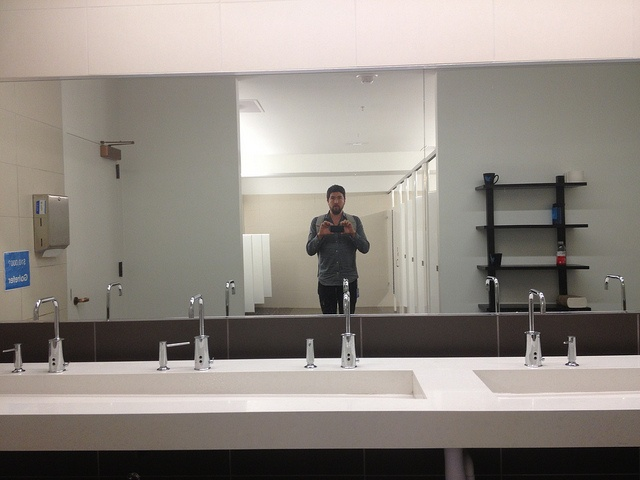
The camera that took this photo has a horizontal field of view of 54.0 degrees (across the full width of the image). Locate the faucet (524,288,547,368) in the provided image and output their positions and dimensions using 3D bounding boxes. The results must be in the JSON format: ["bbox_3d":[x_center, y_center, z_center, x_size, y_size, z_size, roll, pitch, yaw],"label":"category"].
[{"bbox_3d":[1.038,0.417,3.022,0.091,0.356,0.217,0,-2,21],"label":"faucet"}]

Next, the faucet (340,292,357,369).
[{"bbox_3d":[0.143,0.427,3.037,0.077,0.351,0.213,0,-2,2],"label":"faucet"}]

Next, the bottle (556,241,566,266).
[{"bbox_3d":[1.188,0.065,3.082,0.052,0.120,0.015,1,-2,-11],"label":"bottle"}]

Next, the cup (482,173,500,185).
[{"bbox_3d":[0.847,-0.304,3.109,0.064,0.049,0.048,2,-5,-17],"label":"cup"}]

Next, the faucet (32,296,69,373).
[{"bbox_3d":[-1.317,0.453,3.070,0.157,0.354,0.257,1,-2,-25],"label":"faucet"}]

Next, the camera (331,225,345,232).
[{"bbox_3d":[0.087,-0.057,3.173,0.057,0.035,0.014,2,0,1],"label":"camera"}]

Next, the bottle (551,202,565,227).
[{"bbox_3d":[1.167,-0.127,3.080,0.059,0.110,0.012,0,-2,-6],"label":"bottle"}]

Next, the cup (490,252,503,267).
[{"bbox_3d":[0.875,0.098,3.105,0.055,0.081,0.064,0,1,-2],"label":"cup"}]

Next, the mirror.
[{"bbox_3d":[0.091,-0.244,3.134,1.002,1.267,0.010,-1,-8,7],"label":"mirror"}]

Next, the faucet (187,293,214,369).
[{"bbox_3d":[-0.580,0.443,3.061,0.115,0.348,0.231,1,-2,-14],"label":"faucet"}]
